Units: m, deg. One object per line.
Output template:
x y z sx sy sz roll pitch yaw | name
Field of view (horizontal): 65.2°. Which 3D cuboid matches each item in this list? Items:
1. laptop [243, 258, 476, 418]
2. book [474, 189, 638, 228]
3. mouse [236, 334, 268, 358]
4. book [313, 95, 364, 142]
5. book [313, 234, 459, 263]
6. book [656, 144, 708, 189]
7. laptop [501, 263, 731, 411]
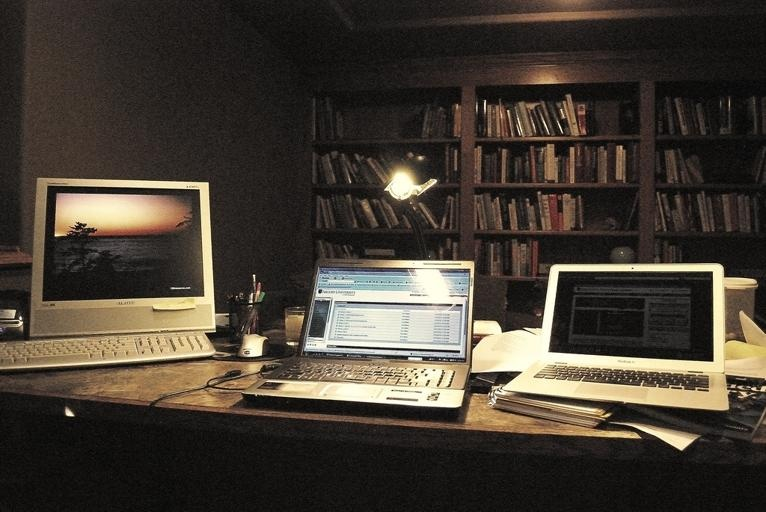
-0.004 0.188 1.927 0.666 0.283 0.550 0 3 16 | laptop
1.272 -0.328 4.448 1.169 0.303 0.295 0 -1 6 | book
-0.469 0.326 2.148 0.105 0.048 0.148 1 0 -9 | mouse
-0.363 -1.034 4.587 0.465 0.351 0.116 -2 1 -26 | book
0.028 -0.045 4.625 0.899 0.177 0.259 1 11 7 | book
2.133 -0.633 4.285 0.284 0.272 0.145 0 -1 28 | book
0.864 0.198 1.997 0.674 0.299 0.538 1 4 20 | laptop
